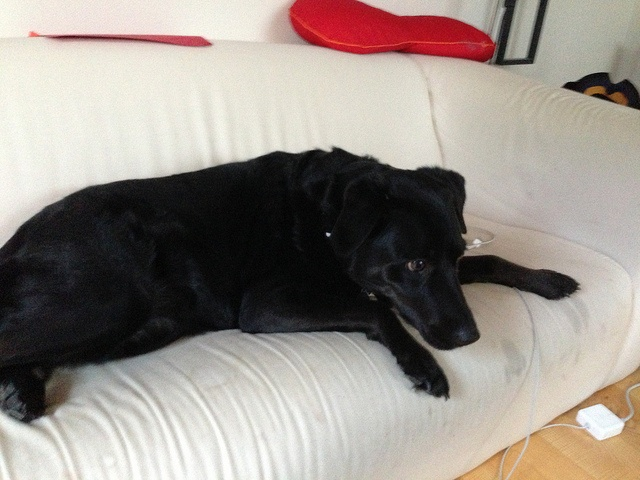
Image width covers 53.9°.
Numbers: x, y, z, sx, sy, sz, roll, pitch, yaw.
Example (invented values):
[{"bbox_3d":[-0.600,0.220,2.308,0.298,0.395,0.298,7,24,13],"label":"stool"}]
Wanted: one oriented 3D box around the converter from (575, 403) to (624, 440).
[{"bbox_3d":[1.032,0.665,2.315,0.113,0.046,0.111,-9,26,-26],"label":"converter"}]
